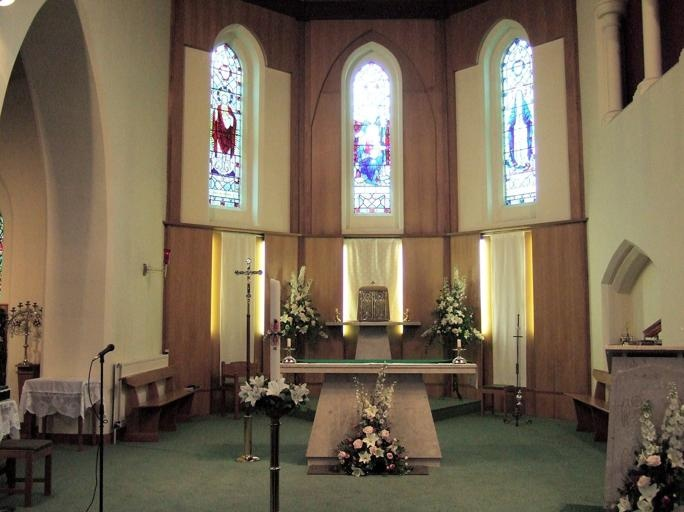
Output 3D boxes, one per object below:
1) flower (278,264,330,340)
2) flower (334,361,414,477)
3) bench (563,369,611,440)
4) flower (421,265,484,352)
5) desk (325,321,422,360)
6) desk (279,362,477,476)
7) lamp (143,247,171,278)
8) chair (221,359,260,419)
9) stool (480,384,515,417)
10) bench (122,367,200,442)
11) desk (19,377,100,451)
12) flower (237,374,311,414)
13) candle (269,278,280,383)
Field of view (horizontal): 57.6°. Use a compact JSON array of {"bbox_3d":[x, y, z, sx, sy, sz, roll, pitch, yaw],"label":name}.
[{"bbox_3d":[-0.781,0.936,12.660,0.923,1.551,0.930,0,-4,-2],"label":"flower"},{"bbox_3d":[0.411,2.183,8.249,1.001,1.387,0.505,0,-4,6],"label":"flower"},{"bbox_3d":[4.164,2.431,10.302,0.482,1.040,1.577,-9,-8,9],"label":"bench"},{"bbox_3d":[2.215,1.084,12.432,0.922,1.603,1.091,4,-6,-44],"label":"flower"},{"bbox_3d":[0.616,1.683,12.438,1.955,0.786,1.406,0,-5,-1],"label":"desk"},{"bbox_3d":[0.375,2.059,8.959,2.750,1.712,1.626,-1,15,-8],"label":"desk"},{"bbox_3d":[-3.336,0.107,11.221,0.125,0.550,0.812,-1,-5,12],"label":"lamp"},{"bbox_3d":[-2.069,2.500,11.774,0.747,1.002,0.783,-4,-9,36],"label":"chair"},{"bbox_3d":[2.874,2.648,11.747,0.705,0.876,0.585,-5,-14,30],"label":"stool"},{"bbox_3d":[-3.147,2.535,10.893,0.637,1.070,2.373,-4,-7,-1],"label":"bench"},{"bbox_3d":[-4.274,2.406,9.409,1.175,1.192,0.915,1,-2,0],"label":"desk"},{"bbox_3d":[-0.699,1.378,6.034,0.564,0.366,0.676,-5,-1,14],"label":"flower"},{"bbox_3d":[-0.650,0.709,5.982,0.090,0.954,0.265,1,-4,-9],"label":"candle"}]
